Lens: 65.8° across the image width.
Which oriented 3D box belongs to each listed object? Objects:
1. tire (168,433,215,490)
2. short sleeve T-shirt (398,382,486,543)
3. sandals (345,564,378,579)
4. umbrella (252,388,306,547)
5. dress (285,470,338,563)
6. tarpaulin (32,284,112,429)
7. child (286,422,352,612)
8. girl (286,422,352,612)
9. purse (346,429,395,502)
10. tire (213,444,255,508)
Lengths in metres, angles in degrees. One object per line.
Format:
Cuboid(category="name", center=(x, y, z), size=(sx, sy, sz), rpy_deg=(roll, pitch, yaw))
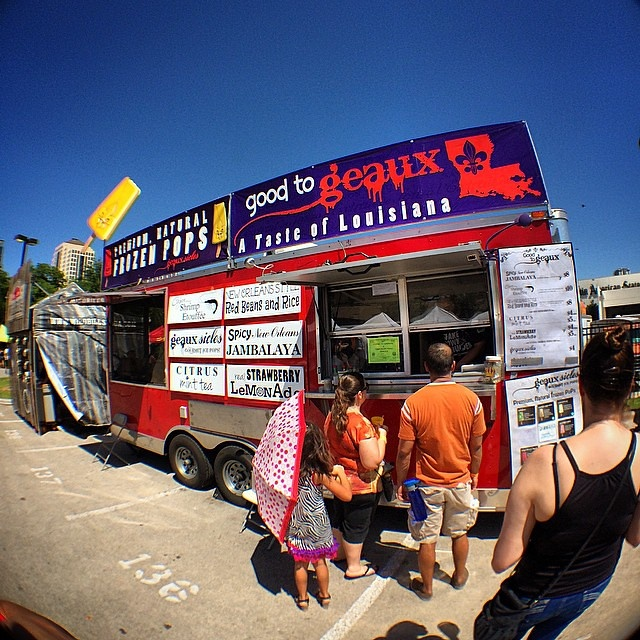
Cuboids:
Cuboid(category="tire", center=(-1.528, 1.662, 5.870), size=(0.646, 0.654, 0.216), rpy_deg=(20, 18, 30))
Cuboid(category="short sleeve T-shirt", center=(0.876, 0.988, 3.567), size=(0.619, 1.118, 0.314), rpy_deg=(-4, 5, -11))
Cuboid(category="sandals", center=(0.313, 1.953, 3.854), size=(0.206, 0.051, 0.098), rpy_deg=(0, -2, -26))
Cuboid(category="umbrella", center=(-0.280, 1.010, 3.445), size=(0.372, 0.956, 0.550), rpy_deg=(-2, 3, -10))
Cuboid(category="dress", center=(-0.062, 1.375, 3.569), size=(0.378, 0.663, 0.413), rpy_deg=(-3, -4, 25))
Cuboid(category="tarpaulin", center=(-4.992, 0.688, 9.944), size=(1.839, 2.603, 1.876), rpy_deg=(-9, -10, 0))
Cuboid(category="child", center=(-0.029, 1.450, 3.616), size=(0.535, 1.305, 0.423), rpy_deg=(-1, 5, -2))
Cuboid(category="girl", center=(-0.037, 1.451, 3.614), size=(0.562, 1.331, 0.428), rpy_deg=(-1, 3, -5))
Cuboid(category="purse", center=(0.401, 1.103, 3.779), size=(0.226, 0.501, 0.377), rpy_deg=(0, 3, 36))
Cuboid(category="tire", center=(-0.839, 1.648, 5.255), size=(0.612, 0.622, 0.213), rpy_deg=(-18, -7, 26))
